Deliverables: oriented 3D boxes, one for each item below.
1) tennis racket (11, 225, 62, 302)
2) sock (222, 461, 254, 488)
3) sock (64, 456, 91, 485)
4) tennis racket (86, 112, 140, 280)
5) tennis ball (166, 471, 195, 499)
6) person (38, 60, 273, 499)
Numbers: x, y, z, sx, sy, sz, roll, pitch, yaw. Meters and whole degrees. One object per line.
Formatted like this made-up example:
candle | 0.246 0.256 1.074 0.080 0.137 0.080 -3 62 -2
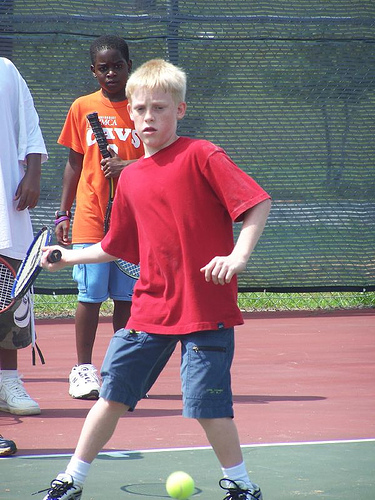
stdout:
tennis racket | -0.533 0.059 2.176 0.149 0.280 0.555 -2 4 -16
sock | 0.138 0.603 1.702 0.086 0.075 0.041 -2 5 -19
sock | -0.303 0.597 1.715 0.047 0.072 0.055 3 6 35
tennis racket | -0.346 -0.273 3.152 0.223 0.867 0.420 -2 5 -24
tennis ball | -0.022 0.672 1.802 0.078 0.064 0.068 0 4 -2
person | -0.099 0.071 1.828 0.673 1.320 0.465 0 5 6
